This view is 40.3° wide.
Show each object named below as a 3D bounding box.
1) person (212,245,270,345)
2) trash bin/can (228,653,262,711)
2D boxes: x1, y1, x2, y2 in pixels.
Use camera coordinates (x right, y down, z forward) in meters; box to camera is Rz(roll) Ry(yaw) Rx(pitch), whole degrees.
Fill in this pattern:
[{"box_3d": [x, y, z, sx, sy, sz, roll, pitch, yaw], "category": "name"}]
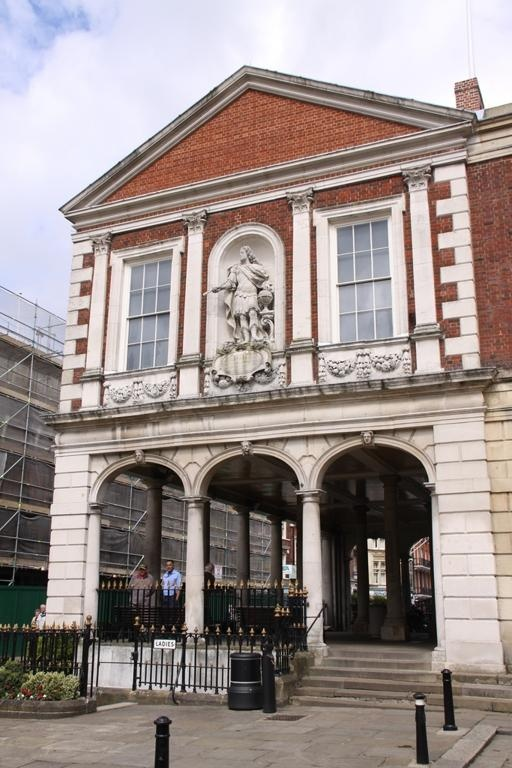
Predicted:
[{"box_3d": [-0.204, -2.002, 16.294, 1.285, 2.591, 0.479, -8, -18, 19], "category": "person"}, {"box_3d": [-0.155, 4.582, 10.749, 0.540, 0.845, 0.574, -1, -17, -3], "category": "trash bin/can"}]
